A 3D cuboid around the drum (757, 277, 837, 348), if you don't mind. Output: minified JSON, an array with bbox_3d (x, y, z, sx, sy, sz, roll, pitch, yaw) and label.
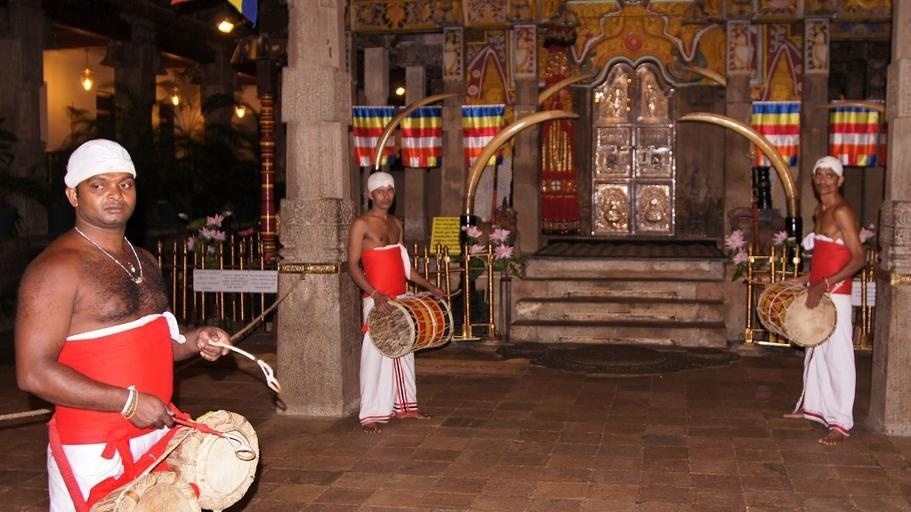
[{"bbox_3d":[5.254,0.855,16.036,1.092,0.994,1.069,-25,10,0],"label":"drum"}]

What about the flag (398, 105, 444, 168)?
[{"bbox_3d":[-0.738,-2.693,23.244,0.922,1.311,0.309,0,4,-3],"label":"flag"}]

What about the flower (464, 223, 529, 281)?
[{"bbox_3d":[0.773,-0.083,19.957,1.168,0.981,0.853,-1,3,-8],"label":"flower"}]

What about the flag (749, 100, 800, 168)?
[{"bbox_3d":[6.882,-2.621,22.170,0.993,1.395,0.242,0,4,12],"label":"flag"}]

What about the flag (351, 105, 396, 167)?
[{"bbox_3d":[-1.875,-2.745,23.458,1.192,1.252,0.648,-5,16,-13],"label":"flag"}]

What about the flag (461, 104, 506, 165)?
[{"bbox_3d":[0.652,-2.688,22.869,0.937,1.356,0.283,0,4,-4],"label":"flag"}]

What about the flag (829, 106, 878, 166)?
[{"bbox_3d":[8.565,-2.567,22.135,1.109,1.216,0.203,0,4,-1],"label":"flag"}]

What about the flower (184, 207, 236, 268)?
[{"bbox_3d":[-4.636,-0.328,19.517,0.981,1.797,0.785,1,1,9],"label":"flower"}]

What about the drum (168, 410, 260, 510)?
[{"bbox_3d":[-2.927,2.538,12.981,0.998,1.300,0.848,3,1,5],"label":"drum"}]

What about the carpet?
[{"bbox_3d":[2.873,1.833,18.344,3.962,0.335,1.635,0,3,9],"label":"carpet"}]
